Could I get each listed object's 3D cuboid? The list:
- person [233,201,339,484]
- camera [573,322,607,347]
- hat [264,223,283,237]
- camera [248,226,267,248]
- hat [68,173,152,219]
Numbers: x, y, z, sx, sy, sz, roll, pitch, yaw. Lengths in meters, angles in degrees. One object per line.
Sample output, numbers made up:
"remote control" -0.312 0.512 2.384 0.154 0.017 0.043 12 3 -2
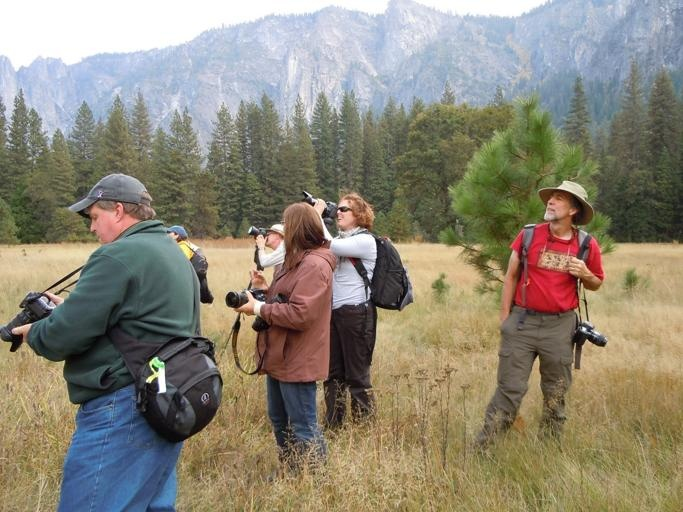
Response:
"person" -0.564 0.868 7.121 0.891 2.811 0.760 2 9 14
"camera" 2.905 0.930 7.655 0.324 0.151 0.326 44 3 14
"hat" -0.991 -0.419 9.960 0.259 0.112 0.278 2 5 7
"camera" -1.262 -0.335 9.577 0.152 0.142 0.267 32 8 31
"hat" -2.171 -0.597 6.217 0.581 0.406 0.436 5 1 -9
